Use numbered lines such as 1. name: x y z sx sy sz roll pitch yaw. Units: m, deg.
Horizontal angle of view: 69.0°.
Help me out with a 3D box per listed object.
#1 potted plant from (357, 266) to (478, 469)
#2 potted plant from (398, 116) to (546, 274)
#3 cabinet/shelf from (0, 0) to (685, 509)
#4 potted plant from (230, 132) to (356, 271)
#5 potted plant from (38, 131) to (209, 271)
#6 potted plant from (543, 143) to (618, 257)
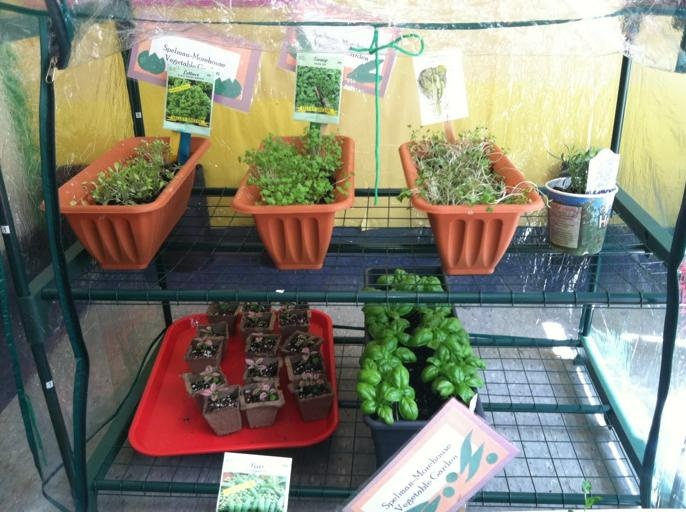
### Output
1. potted plant: 0.231 0.298 1.809 0.411 0.326 0.759 -2 37 0
2. potted plant: 0.400 -0.258 1.648 0.374 0.262 0.579 0 32 2
3. cabinet/shelf: -0.037 0.078 1.765 1.854 1.453 1.065 0 37 -3
4. potted plant: -0.146 -0.129 1.708 0.345 0.236 0.517 0 21 4
5. potted plant: -0.688 -0.194 1.718 0.369 0.226 0.599 4 33 5
6. potted plant: 0.747 -0.182 1.577 0.218 0.309 0.191 -13 21 -19
